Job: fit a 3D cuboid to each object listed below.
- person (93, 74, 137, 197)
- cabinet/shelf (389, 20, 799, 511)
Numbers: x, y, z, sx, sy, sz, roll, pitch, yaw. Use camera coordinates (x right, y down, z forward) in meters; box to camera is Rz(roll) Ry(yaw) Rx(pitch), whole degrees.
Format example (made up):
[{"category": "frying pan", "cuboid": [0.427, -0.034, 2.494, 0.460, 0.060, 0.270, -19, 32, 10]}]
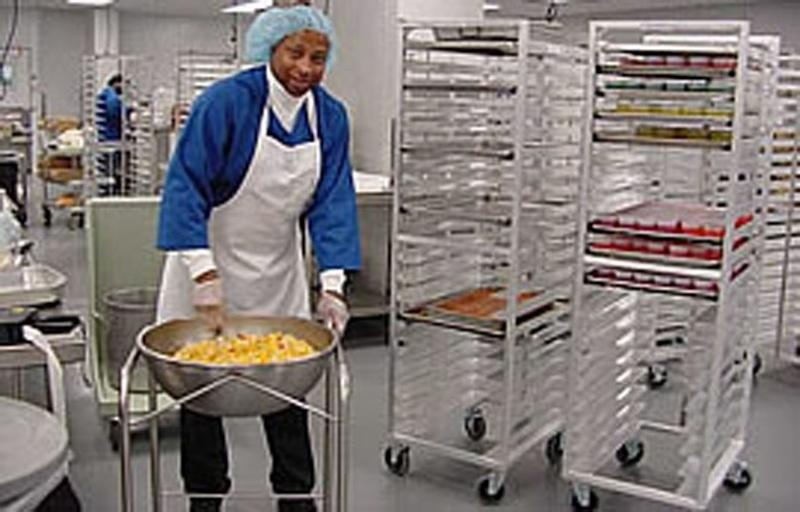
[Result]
[{"category": "person", "cuboid": [-3.119, -1.297, 7.551, 0.396, 1.332, 1.046, -3, 12, -22]}, {"category": "cabinet/shelf", "cuboid": [0.966, 0.014, 3.804, 1.975, 2.483, 1.235, 4, 12, 12]}]
